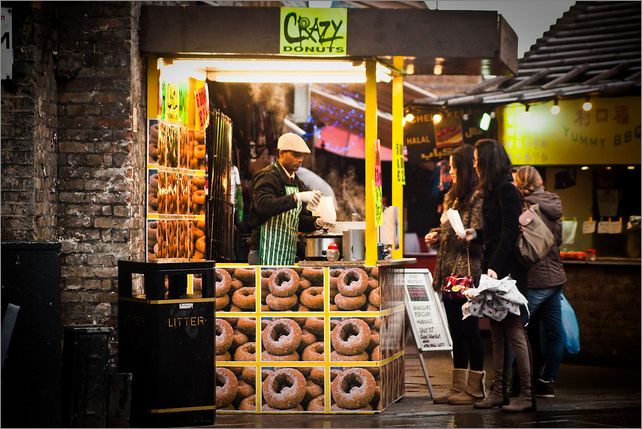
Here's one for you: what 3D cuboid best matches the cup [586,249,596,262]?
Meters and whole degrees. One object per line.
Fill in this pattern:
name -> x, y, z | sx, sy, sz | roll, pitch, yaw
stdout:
cup -> 4.221, 0.647, 11.936 | 0.157, 0.221, 0.157 | -1, 0, 0

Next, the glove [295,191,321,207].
glove -> -0.130, -0.198, 8.496 | 0.167, 0.222, 0.221 | 1, -7, -9

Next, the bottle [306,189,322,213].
bottle -> -0.080, -0.149, 8.583 | 0.188, 0.312, 0.197 | 2, 7, 0

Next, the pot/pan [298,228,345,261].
pot/pan -> 0.053, 0.389, 9.657 | 0.564, 0.406, 0.562 | -1, -3, 22

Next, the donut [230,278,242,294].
donut -> -0.960, 0.807, 8.475 | 0.137, 0.149, 0.143 | 9, -9, -19

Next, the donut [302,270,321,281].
donut -> -0.086, 0.680, 8.467 | 0.145, 0.060, 0.153 | 1, -6, 36

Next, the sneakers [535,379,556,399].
sneakers -> 2.681, 2.101, 9.061 | 0.203, 0.218, 0.233 | -1, -5, 16

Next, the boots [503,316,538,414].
boots -> 2.160, 1.649, 8.279 | 0.302, 1.074, 0.467 | -3, -6, 35

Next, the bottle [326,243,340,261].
bottle -> 0.136, 0.433, 8.880 | 0.159, 0.241, 0.167 | 0, -5, 0

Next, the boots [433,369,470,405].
boots -> 1.554, 2.044, 8.837 | 0.512, 0.427, 0.236 | -1, -21, 6

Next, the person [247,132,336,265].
person -> -0.444, -0.192, 8.729 | 0.728, 1.556, 0.653 | 1, -5, -13

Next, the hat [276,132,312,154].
hat -> -0.311, -0.845, 8.874 | 0.297, 0.160, 0.229 | 1, 0, 17

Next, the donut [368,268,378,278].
donut -> 0.594, 0.656, 8.393 | 0.100, 0.102, 0.098 | 7, -10, -37

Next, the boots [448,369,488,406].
boots -> 1.718, 2.005, 8.732 | 0.503, 0.396, 0.267 | -4, 4, -18

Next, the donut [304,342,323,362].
donut -> -0.065, 1.562, 8.488 | 0.197, 0.197, 0.197 | 9, -15, -37

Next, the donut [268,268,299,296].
donut -> -0.438, 0.769, 8.640 | 0.409, 0.165, 0.430 | 7, 24, 21

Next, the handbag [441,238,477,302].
handbag -> 1.619, 0.616, 8.724 | 0.308, 0.808, 0.153 | -2, -30, 31

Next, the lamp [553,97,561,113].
lamp -> 3.810, -1.785, 12.250 | 0.124, 0.232, 0.104 | -2, -5, 22

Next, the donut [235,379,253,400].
donut -> -0.853, 1.988, 8.494 | 0.176, 0.067, 0.174 | 33, -24, -23
